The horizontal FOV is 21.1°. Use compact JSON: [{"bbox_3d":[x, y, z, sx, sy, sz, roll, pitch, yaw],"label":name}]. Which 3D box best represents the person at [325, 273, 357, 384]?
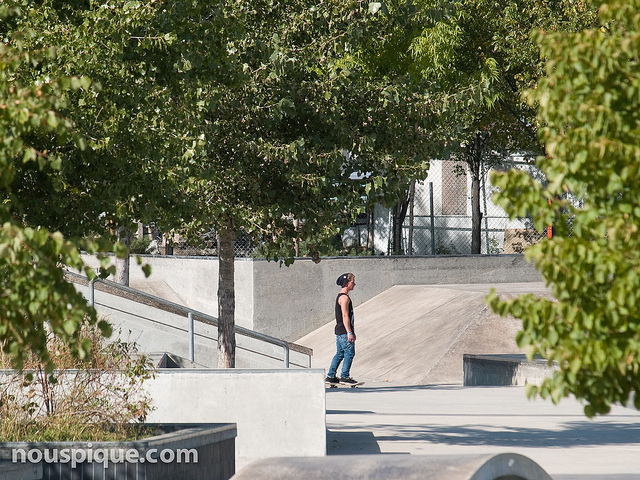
[{"bbox_3d":[0.361,1.227,24.324,0.440,1.605,0.835,-1,-4,-17],"label":"person"}]

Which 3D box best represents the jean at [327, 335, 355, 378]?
[{"bbox_3d":[0.298,1.493,24.244,0.344,1.057,0.343,0,33,-4],"label":"jean"}]
